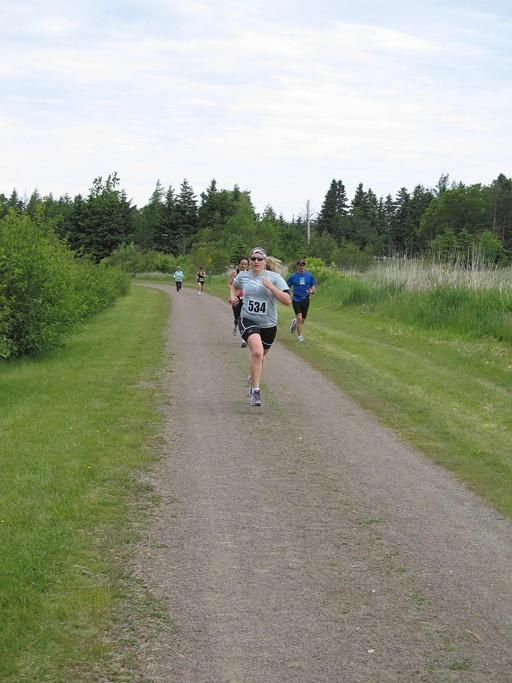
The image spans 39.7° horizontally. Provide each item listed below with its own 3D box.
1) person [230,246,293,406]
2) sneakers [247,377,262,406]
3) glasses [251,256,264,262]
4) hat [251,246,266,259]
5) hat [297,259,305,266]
[{"bbox_3d":[0.033,-0.171,9.047,0.664,2.047,1.179,2,7,-10],"label":"person"},{"bbox_3d":[-0.012,0.610,9.257,0.145,0.407,0.186,-7,-37,-13],"label":"sneakers"},{"bbox_3d":[0.023,-1.034,8.788,0.142,0.070,0.135,3,7,1],"label":"glasses"},{"bbox_3d":[0.028,-1.127,8.835,0.158,0.108,0.186,1,-7,0],"label":"hat"},{"bbox_3d":[1.050,-1.770,15.772,0.148,0.156,0.187,13,4,-4],"label":"hat"}]
